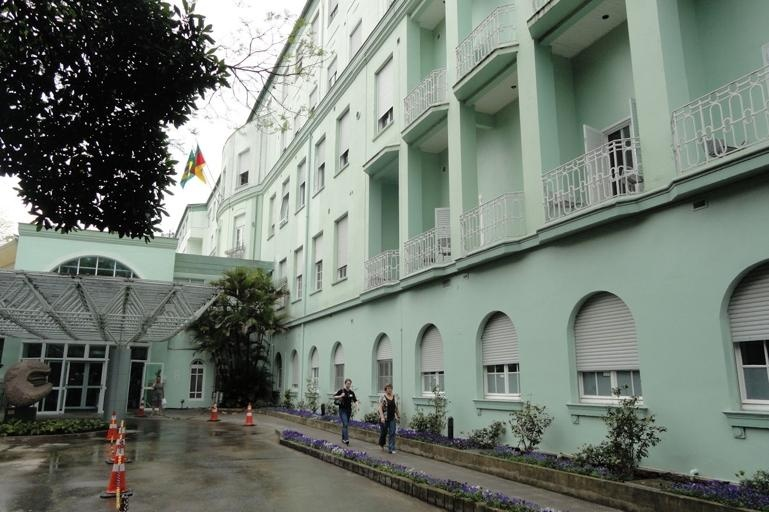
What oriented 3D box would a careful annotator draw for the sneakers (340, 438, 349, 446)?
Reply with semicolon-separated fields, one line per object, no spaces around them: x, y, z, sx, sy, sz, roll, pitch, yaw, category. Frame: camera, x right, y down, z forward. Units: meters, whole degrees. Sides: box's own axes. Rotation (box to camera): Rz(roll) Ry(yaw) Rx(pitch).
-1.226;5.922;16.803;0.111;0.168;0.381;8;-28;-23;sneakers

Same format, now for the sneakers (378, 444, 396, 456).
0.118;5.654;15.450;0.197;0.294;0.663;11;-27;-27;sneakers

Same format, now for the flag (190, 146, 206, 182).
-12.868;-6.253;36.811;0.828;1.831;2.382;2;-9;-20;flag
